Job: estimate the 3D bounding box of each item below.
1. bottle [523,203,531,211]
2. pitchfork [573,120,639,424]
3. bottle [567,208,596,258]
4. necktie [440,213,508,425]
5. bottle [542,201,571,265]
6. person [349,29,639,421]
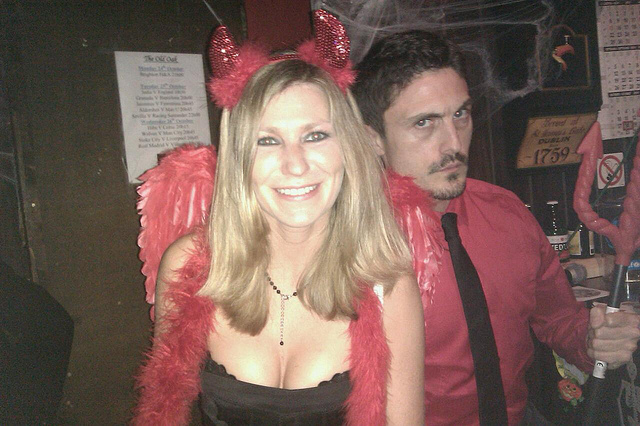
[{"bbox_3d":[1.057,-0.028,3.163,0.031,0.029,0.007,25,-5,0],"label":"bottle"},{"bbox_3d":[1.439,0.301,3.103,0.323,1.502,0.175,-1,5,3],"label":"pitchfork"},{"bbox_3d":[1.334,0.111,3.208,0.174,0.258,0.165,-2,-2,0],"label":"bottle"},{"bbox_3d":[0.746,0.510,3.035,0.140,1.010,0.287,-5,6,-42],"label":"necktie"},{"bbox_3d":[1.267,0.114,3.190,0.117,0.286,0.119,-13,-6,-1],"label":"bottle"},{"bbox_3d":[0.829,0.034,2.997,1.358,1.850,1.014,-18,14,-16],"label":"person"}]
